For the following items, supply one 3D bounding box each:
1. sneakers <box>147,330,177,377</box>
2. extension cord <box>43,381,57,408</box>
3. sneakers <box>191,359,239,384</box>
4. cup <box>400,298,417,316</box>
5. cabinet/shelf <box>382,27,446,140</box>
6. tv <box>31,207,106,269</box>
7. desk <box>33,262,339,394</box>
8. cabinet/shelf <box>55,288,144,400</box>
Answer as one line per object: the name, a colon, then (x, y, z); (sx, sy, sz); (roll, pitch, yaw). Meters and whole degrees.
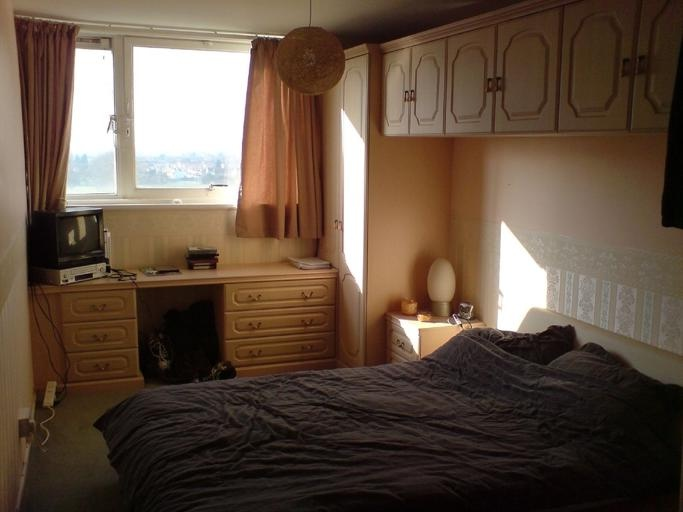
sneakers: (-1.561, 0.857, 4.729); (0.128, 0.354, 0.249); (-15, 2, 9)
extension cord: (-2.221, 1.057, 4.144); (0.073, 0.045, 0.221); (4, 48, -11)
sneakers: (-1.066, 0.975, 4.586); (0.351, 0.136, 0.225); (-6, 1, 6)
cup: (0.557, 0.420, 4.481); (0.120, 0.109, 0.115); (2, 0, 0)
cabinet/shelf: (0.439, -1.253, 4.090); (0.733, 0.675, 0.281); (-21, 28, -40)
tv: (-2.221, -0.121, 4.419); (0.363, 0.490, 0.509); (-1, 7, 19)
desk: (-1.391, 0.639, 4.779); (2.413, 0.946, 0.634); (-2, -2, -20)
cabinet/shelf: (-2.025, 0.779, 4.520); (0.619, 0.850, 0.554); (-2, -25, -25)
